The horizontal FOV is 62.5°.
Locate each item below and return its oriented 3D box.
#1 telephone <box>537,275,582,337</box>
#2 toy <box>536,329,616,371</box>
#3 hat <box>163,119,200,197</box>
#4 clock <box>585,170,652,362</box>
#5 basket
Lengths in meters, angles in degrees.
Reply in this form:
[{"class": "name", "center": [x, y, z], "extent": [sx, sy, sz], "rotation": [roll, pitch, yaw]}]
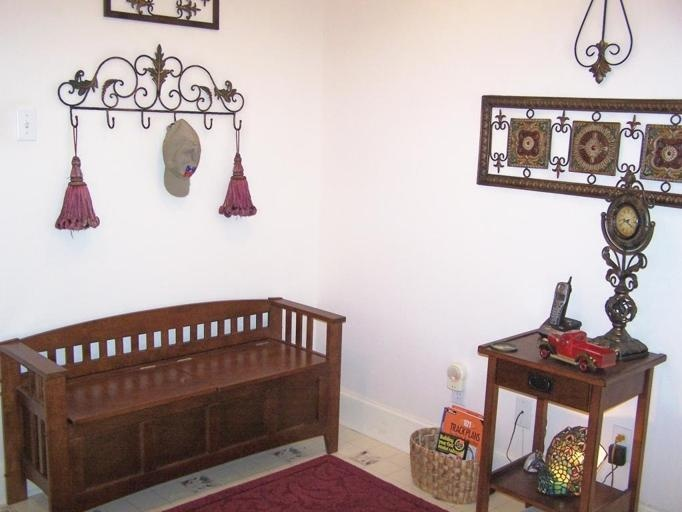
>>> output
[{"class": "telephone", "center": [1.006, 0.235, 2.582], "extent": [0.160, 0.262, 0.146], "rotation": [-14, 20, -25]}, {"class": "toy", "center": [1.003, 0.383, 2.390], "extent": [0.152, 0.106, 0.232], "rotation": [-9, 20, -42]}, {"class": "hat", "center": [-0.897, -0.542, 3.192], "extent": [0.118, 0.418, 0.229], "rotation": [13, 12, 27]}, {"class": "clock", "center": [1.257, 0.035, 2.467], "extent": [0.285, 0.786, 0.226], "rotation": [-9, 15, -44]}, {"class": "basket", "center": [0.555, 1.080, 3.054], "extent": [0.305, 0.206, 0.313], "rotation": [-3, 8, -37]}]
